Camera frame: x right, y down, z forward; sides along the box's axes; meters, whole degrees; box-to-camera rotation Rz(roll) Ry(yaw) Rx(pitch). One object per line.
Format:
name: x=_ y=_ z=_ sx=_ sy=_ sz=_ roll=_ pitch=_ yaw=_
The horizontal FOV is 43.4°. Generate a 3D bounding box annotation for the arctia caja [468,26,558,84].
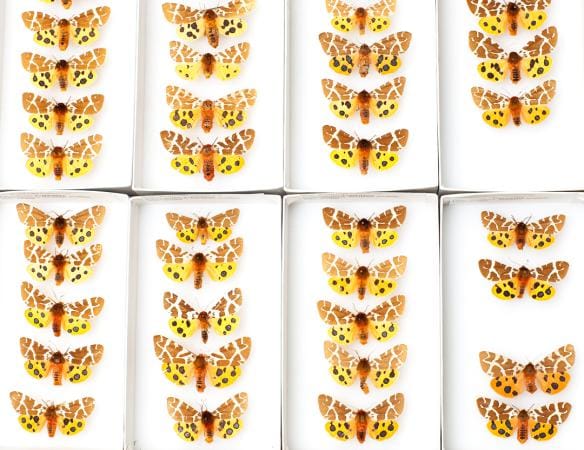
arctia caja: x=1.097 y=-0.842 z=3.640 sx=0.423 sy=0.092 sz=0.264 roll=-3 pitch=-80 yaw=1

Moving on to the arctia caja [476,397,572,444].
arctia caja: x=1.108 y=0.941 z=3.502 sx=0.443 sy=0.066 sz=0.194 roll=2 pitch=-80 yaw=0

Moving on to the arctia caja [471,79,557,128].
arctia caja: x=1.094 y=-0.593 z=3.608 sx=0.400 sy=0.075 sz=0.208 roll=-5 pitch=-80 yaw=1
